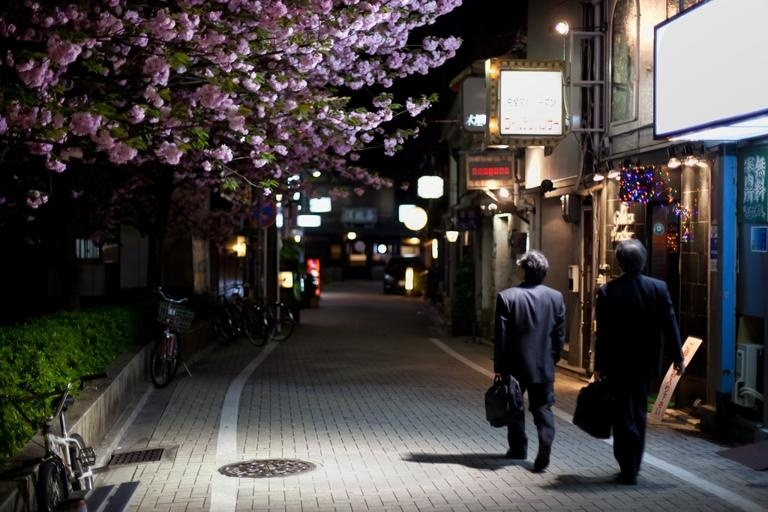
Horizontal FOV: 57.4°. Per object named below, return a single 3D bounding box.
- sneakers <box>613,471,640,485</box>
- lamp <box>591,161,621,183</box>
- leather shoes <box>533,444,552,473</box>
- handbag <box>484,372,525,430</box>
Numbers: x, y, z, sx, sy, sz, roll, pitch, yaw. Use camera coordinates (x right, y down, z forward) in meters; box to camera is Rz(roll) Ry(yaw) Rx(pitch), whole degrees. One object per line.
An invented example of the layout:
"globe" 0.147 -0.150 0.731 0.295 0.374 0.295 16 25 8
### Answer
"sneakers" 2.749 2.489 7.915 0.145 0.178 0.193 2 -7 -16
"lamp" 4.280 -1.656 13.544 0.369 0.396 1.161 -1 0 -3
"leather shoes" 1.883 2.398 8.407 0.188 0.338 0.245 -1 1 11
"handbag" 1.457 1.764 8.522 0.311 0.623 0.598 6 -20 -27
